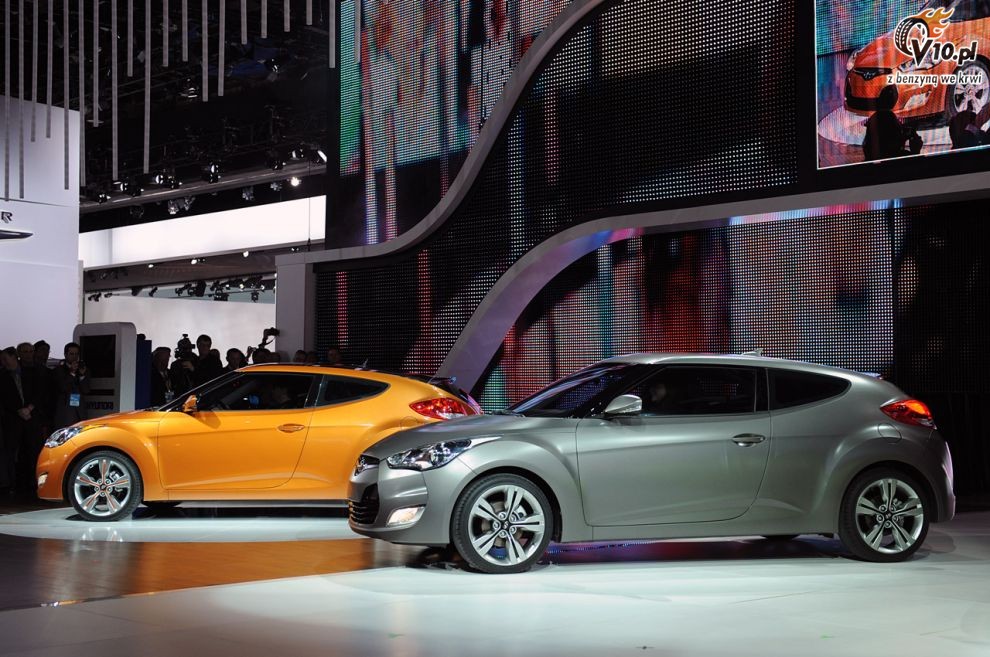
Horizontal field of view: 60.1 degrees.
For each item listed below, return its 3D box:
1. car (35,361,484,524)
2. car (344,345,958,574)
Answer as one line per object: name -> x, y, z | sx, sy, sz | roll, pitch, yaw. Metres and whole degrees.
car -> -3.123, 1.444, 11.409 | 5.284, 1.782, 2.302 | 2, -5, -1
car -> 1.594, 1.432, 9.073 | 5.501, 1.868, 2.515 | 2, -7, -7
